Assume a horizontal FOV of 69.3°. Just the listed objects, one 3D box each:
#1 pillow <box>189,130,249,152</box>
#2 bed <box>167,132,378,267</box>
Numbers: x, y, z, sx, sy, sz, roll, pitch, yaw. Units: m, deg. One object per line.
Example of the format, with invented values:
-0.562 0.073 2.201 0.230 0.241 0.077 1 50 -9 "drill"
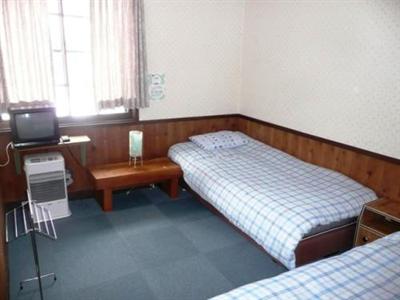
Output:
0.328 -0.148 4.480 0.641 0.129 0.403 -5 19 -23 "pillow"
0.615 0.391 3.565 1.176 0.608 1.950 -14 26 -29 "bed"
